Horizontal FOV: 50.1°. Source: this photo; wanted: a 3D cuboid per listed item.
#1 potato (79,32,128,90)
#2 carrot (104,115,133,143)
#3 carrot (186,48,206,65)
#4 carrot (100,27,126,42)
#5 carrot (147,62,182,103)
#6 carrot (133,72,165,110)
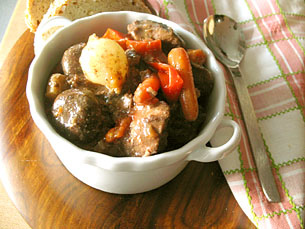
[{"bbox_3d":[-0.309,-0.330,2.116,0.331,0.156,0.295,23,79,1],"label":"potato"},{"bbox_3d":[-0.205,0.105,2.021,0.104,0.044,0.191,36,80,3],"label":"carrot"},{"bbox_3d":[0.307,-0.414,2.288,0.123,0.036,0.099,41,72,-11],"label":"carrot"},{"bbox_3d":[-0.280,-0.562,2.313,0.138,0.063,0.131,10,48,4],"label":"carrot"},{"bbox_3d":[0.092,-0.217,2.138,0.224,0.110,0.146,40,104,12],"label":"carrot"},{"bbox_3d":[-0.021,-0.143,2.049,0.108,0.074,0.231,38,77,0],"label":"carrot"}]
